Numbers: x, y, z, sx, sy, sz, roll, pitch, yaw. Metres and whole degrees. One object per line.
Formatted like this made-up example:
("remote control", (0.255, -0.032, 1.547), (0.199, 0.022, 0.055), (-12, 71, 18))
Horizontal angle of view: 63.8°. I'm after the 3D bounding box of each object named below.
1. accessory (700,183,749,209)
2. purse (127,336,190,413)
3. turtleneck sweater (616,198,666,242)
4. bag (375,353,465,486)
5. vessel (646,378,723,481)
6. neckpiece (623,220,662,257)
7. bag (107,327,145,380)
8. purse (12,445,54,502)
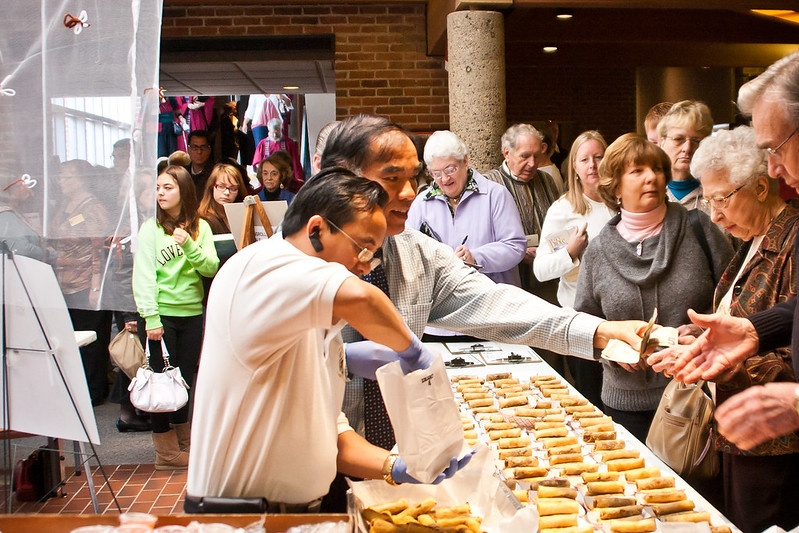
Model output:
("accessory", (1.455, -0.315, 2.868), (0.171, 0.050, 0.161), (-26, 3, -6))
("purse", (-1.679, 0.735, 4.463), (0.418, 0.561, 0.192), (6, -13, -42))
("turtleneck sweater", (1.238, -0.231, 3.288), (0.192, 0.091, 0.204), (-4, -4, -22))
("bag", (0.077, 0.475, 1.968), (0.144, 0.401, 0.262), (8, 11, 42))
("vessel", (1.248, 0.701, 2.811), (0.201, 0.390, 0.308), (5, 0, -6))
("neckpiece", (1.236, -0.146, 3.334), (0.157, 0.136, 0.195), (-1, -11, -9))
("bag", (-1.944, 0.594, 4.635), (0.278, 0.332, 0.163), (-4, 11, -40))
("purse", (-2.335, 1.351, 4.123), (0.181, 0.304, 0.321), (-5, -14, -16))
